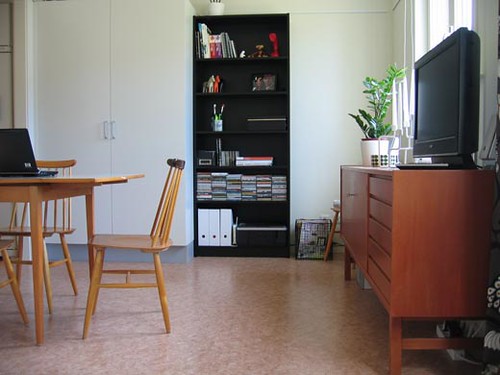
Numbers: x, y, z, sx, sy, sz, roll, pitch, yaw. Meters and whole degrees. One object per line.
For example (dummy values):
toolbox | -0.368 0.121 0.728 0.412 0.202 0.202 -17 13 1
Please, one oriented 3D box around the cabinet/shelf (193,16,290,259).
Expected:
cabinet/shelf | -0.096 -0.923 4.413 0.973 2.371 0.388 0 -5 1

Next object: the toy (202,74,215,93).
toy | -0.456 -1.112 4.413 0.139 0.218 0.303 -1 8 -5

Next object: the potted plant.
potted plant | 1.074 -0.548 3.482 0.446 0.759 0.374 1 -1 -32

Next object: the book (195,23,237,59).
book | -0.368 -1.520 4.284 0.402 0.362 0.097 1 8 5
